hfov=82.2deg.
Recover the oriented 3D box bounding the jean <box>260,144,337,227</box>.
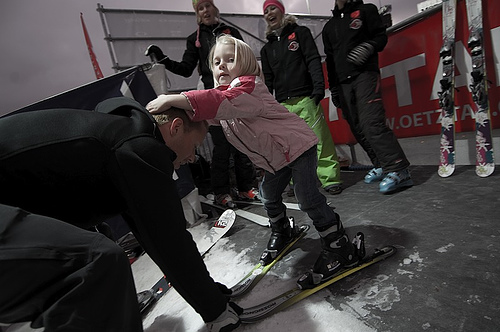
[{"bbox_3d":[0.268,0.118,1.745,0.205,0.451,0.485,-24,14,-41],"label":"jean"}]

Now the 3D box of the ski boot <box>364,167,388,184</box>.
[{"bbox_3d":[1.261,0.110,2.923,0.082,0.101,0.235,-49,0,-26],"label":"ski boot"}]

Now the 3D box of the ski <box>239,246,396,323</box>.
[{"bbox_3d":[0.378,0.648,1.546,0.681,0.052,0.075,-23,23,-11],"label":"ski"}]

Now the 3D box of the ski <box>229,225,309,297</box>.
[{"bbox_3d":[0.231,0.615,1.996,0.149,0.070,0.988,-3,21,42],"label":"ski"}]

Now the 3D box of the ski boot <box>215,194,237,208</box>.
[{"bbox_3d":[-0.282,0.394,3.278,0.276,0.100,0.098,17,30,38],"label":"ski boot"}]

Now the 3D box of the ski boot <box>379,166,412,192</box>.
[{"bbox_3d":[1.262,0.117,2.513,0.340,0.171,0.109,-14,11,-15],"label":"ski boot"}]
